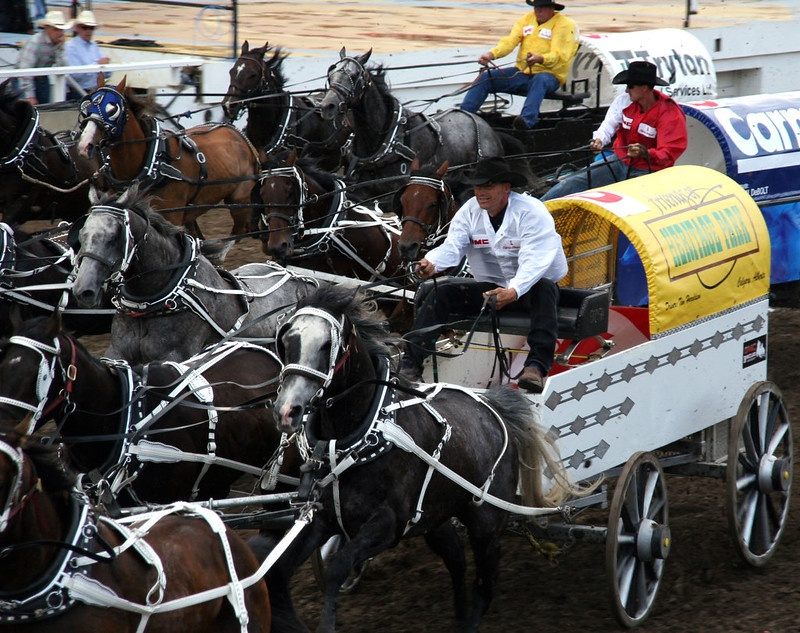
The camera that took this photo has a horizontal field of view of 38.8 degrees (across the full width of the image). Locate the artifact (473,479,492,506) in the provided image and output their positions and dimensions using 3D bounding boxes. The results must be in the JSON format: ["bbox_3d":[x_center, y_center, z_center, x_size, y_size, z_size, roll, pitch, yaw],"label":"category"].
[{"bbox_3d":[0.418,0.884,5.716,0.057,0.138,0.164,10,18,32],"label":"artifact"}]

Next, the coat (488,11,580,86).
[{"bbox_3d":[1.363,-2.760,11.604,0.731,0.491,0.918,26,41,34],"label":"coat"}]

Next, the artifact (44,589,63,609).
[{"bbox_3d":[-1.250,1.037,4.176,0.068,0.063,0.022,-5,18,-15],"label":"artifact"}]

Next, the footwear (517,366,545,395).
[{"bbox_3d":[0.708,0.344,6.055,0.102,0.069,0.196,3,-11,19],"label":"footwear"}]

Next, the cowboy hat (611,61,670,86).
[{"bbox_3d":[1.774,-1.758,8.313,0.402,0.104,0.262,-1,13,-16],"label":"cowboy hat"}]

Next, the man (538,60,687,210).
[{"bbox_3d":[1.626,-1.301,8.256,0.814,0.826,1.331,16,31,38],"label":"man"}]

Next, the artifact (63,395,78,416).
[{"bbox_3d":[-1.489,0.405,5.181,0.032,0.060,0.100,-3,30,-37],"label":"artifact"}]

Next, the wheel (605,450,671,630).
[{"bbox_3d":[1.273,1.170,6.033,0.261,0.874,0.671,6,17,23],"label":"wheel"}]

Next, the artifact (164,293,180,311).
[{"bbox_3d":[-1.313,-0.080,6.658,0.081,0.089,0.026,31,-22,-23],"label":"artifact"}]

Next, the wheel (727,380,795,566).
[{"bbox_3d":[2.087,0.906,6.630,0.349,1.011,0.828,4,17,18],"label":"wheel"}]

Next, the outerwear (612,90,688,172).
[{"bbox_3d":[1.818,-1.395,8.423,0.610,0.517,0.694,-8,24,-18],"label":"outerwear"}]

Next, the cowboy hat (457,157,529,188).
[{"bbox_3d":[0.543,-0.815,6.441,0.302,0.168,0.268,-2,13,-4],"label":"cowboy hat"}]
